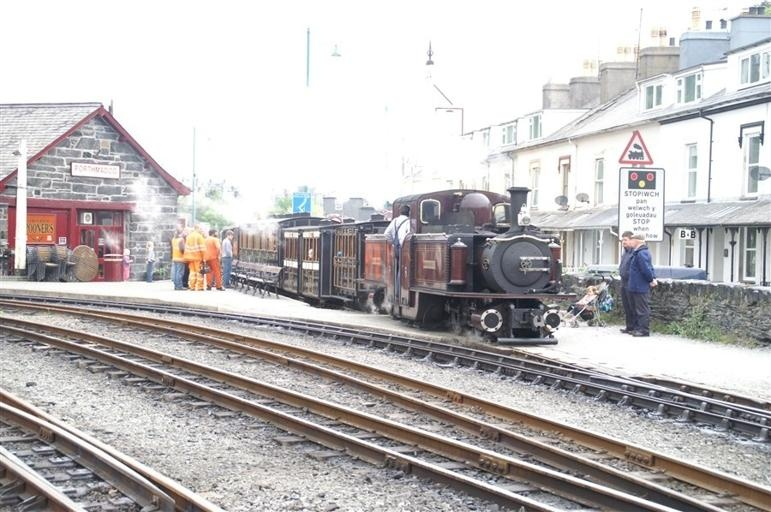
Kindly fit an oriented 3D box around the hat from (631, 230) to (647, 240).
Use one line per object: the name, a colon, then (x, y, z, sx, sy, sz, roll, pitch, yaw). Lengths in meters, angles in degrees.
hat: (5.661, -0.461, 17.660, 0.168, 0.237, 0.199, -2, 0, -3)
